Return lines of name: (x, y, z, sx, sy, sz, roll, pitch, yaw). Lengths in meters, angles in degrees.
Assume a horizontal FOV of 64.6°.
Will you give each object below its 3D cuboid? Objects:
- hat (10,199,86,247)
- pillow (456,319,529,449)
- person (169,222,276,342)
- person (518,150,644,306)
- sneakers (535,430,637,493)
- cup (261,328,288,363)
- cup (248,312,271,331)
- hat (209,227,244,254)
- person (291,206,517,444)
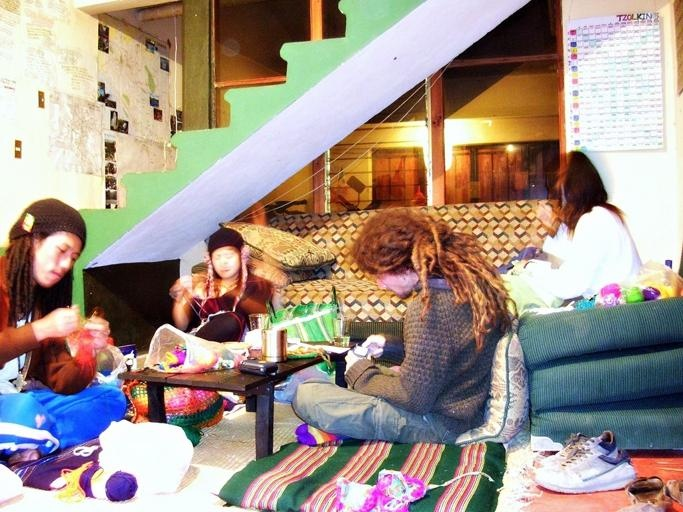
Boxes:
hat: (-1.503, -0.155, 2.744, 0.255, 0.158, 0.242, 1, 3, -3)
pillow: (0.724, 0.582, 2.790, 0.387, 0.783, 0.763, 2, -10, 15)
person: (-0.883, 0.196, 4.023, 0.808, 0.775, 0.250, 1, 3, 23)
person: (1.475, -0.092, 3.599, 0.848, 1.150, 0.871, -3, -1, 35)
sneakers: (1.005, 0.844, 2.215, 0.317, 0.158, 0.237, -6, -3, 1)
cup: (-0.323, 0.429, 2.592, 0.134, 0.164, 0.141, 1, -5, 0)
cup: (-0.438, 0.333, 2.891, 0.115, 0.123, 0.114, 0, -2, 0)
hat: (-0.859, -0.099, 4.000, 0.196, 0.123, 0.200, -1, -24, -40)
person: (0.387, 0.302, 2.882, 1.088, 1.289, 0.834, 2, 5, 30)
